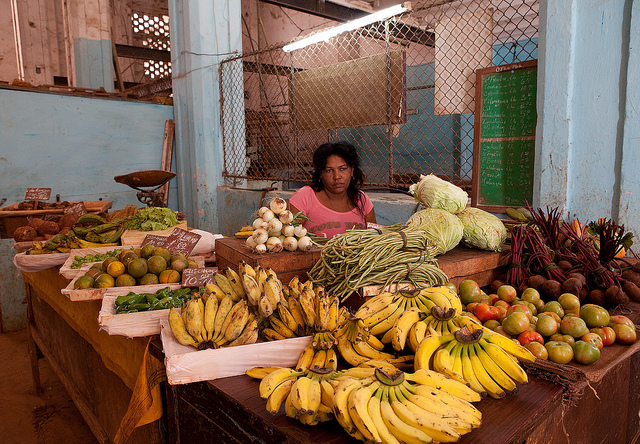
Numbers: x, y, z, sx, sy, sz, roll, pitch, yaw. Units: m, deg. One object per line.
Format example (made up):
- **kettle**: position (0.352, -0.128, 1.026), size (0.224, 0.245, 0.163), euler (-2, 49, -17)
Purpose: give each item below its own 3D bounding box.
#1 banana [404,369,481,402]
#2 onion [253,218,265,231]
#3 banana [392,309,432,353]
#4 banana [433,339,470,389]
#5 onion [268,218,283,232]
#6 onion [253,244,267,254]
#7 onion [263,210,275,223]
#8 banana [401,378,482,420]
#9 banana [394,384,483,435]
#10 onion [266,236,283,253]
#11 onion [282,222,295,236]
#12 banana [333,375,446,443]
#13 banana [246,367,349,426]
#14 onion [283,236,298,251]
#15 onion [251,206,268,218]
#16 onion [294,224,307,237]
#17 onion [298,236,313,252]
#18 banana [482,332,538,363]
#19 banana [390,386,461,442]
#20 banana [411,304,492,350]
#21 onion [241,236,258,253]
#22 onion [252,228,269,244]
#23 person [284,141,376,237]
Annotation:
- **banana**: position (0.503, 0.688, 1.750), size (0.400, 0.135, 0.101), euler (10, -15, -15)
- **onion**: position (-0.409, 0.009, 2.851), size (0.068, 0.083, 0.071), euler (9, -16, 22)
- **banana**: position (0.393, 0.470, 2.003), size (0.220, 0.184, 0.225), euler (-1, 9, -7)
- **banana**: position (0.549, 0.593, 1.795), size (0.138, 0.143, 0.136), euler (3, 9, 3)
- **onion**: position (-0.285, 0.021, 2.791), size (0.078, 0.095, 0.078), euler (-14, 13, -24)
- **onion**: position (-0.383, 0.174, 2.705), size (0.050, 0.052, 0.066), euler (-4, -2, -26)
- **onion**: position (-0.347, -0.040, 2.826), size (0.069, 0.073, 0.072), euler (2, 16, -22)
- **banana**: position (0.475, 0.699, 1.679), size (0.341, 0.072, 0.059), euler (20, -7, 4)
- **banana**: position (0.474, 0.700, 1.639), size (0.158, 0.131, 0.503), euler (32, -30, -13)
- **onion**: position (-0.283, 0.145, 2.676), size (0.072, 0.075, 0.096), euler (-2, 6, -13)
- **onion**: position (-0.205, 0.051, 2.764), size (0.069, 0.082, 0.067), euler (1, 7, 4)
- **banana**: position (0.233, 0.738, 1.615), size (0.335, 0.215, 0.112), euler (24, -31, 12)
- **banana**: position (-0.076, 0.690, 1.742), size (0.238, 0.119, 0.286), euler (2, 4, -22)
- **onion**: position (-0.187, 0.140, 2.746), size (0.085, 0.102, 0.086), euler (10, -8, -35)
- **onion**: position (-0.411, -0.049, 2.885), size (0.049, 0.119, 0.067), euler (48, 13, -37)
- **onion**: position (-0.122, 0.048, 2.775), size (0.065, 0.067, 0.067), euler (9, 4, 26)
- **onion**: position (-0.095, 0.140, 2.803), size (0.084, 0.086, 0.103), euler (-24, 9, 6)
- **banana**: position (0.863, 0.566, 1.910), size (0.210, 0.054, 0.070), euler (24, 20, -16)
- **banana**: position (0.405, 0.742, 1.629), size (0.274, 0.054, 0.101), euler (25, 4, 5)
- **banana**: position (0.559, 0.463, 1.931), size (0.199, 0.102, 0.275), euler (-10, 4, 14)
- **onion**: position (-0.462, 0.149, 2.809), size (0.079, 0.097, 0.047), euler (49, 0, 23)
- **onion**: position (-0.378, 0.088, 2.709), size (0.086, 0.088, 0.119), euler (-5, 18, 10)
- **person**: position (0.137, -0.289, 4.026), size (0.978, 0.885, 0.521), euler (-2, -2, -19)
